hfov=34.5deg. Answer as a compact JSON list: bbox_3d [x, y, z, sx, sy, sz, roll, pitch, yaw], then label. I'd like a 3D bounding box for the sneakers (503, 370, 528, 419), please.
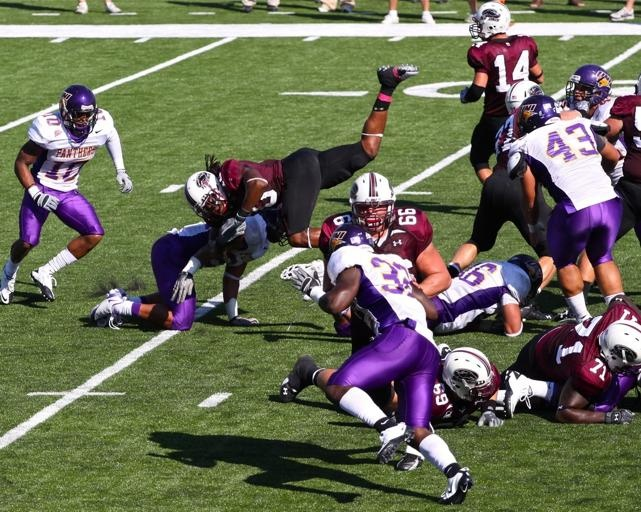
[{"bbox_3d":[1.171,0.835,6.223,0.170,0.289,0.106,6,-11,4],"label":"sneakers"}]

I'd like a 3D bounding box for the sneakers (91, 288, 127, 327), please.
[{"bbox_3d":[-1.602,0.416,7.730,0.140,0.320,0.244,56,21,22],"label":"sneakers"}]

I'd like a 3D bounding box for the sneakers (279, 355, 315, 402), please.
[{"bbox_3d":[-0.151,0.781,6.450,0.122,0.346,0.156,53,19,13],"label":"sneakers"}]

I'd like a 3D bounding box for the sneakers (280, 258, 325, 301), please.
[{"bbox_3d":[-0.074,0.172,5.907,0.252,0.114,0.245,-35,58,-26],"label":"sneakers"}]

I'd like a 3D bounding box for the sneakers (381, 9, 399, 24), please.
[{"bbox_3d":[1.161,-3.985,17.265,0.377,0.224,0.163,6,27,28],"label":"sneakers"}]

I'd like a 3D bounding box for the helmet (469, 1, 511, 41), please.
[{"bbox_3d":[1.606,-2.328,10.216,0.491,0.378,0.374,8,32,23],"label":"helmet"}]

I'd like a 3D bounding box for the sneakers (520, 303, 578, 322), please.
[{"bbox_3d":[1.671,0.427,7.654,0.461,0.167,0.129,-2,8,4],"label":"sneakers"}]

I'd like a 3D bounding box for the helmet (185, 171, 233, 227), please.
[{"bbox_3d":[-0.841,-0.426,7.448,0.380,0.273,0.369,43,6,-18],"label":"helmet"}]

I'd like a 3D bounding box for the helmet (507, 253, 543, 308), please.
[{"bbox_3d":[1.450,0.177,7.326,0.221,0.282,0.284,38,72,25],"label":"helmet"}]

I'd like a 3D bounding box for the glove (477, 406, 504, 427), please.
[{"bbox_3d":[1.024,0.945,6.160,0.155,0.109,0.165,5,19,9],"label":"glove"}]

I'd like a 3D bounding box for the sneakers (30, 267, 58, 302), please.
[{"bbox_3d":[-2.232,0.231,8.247,0.149,0.292,0.253,-13,24,-35],"label":"sneakers"}]

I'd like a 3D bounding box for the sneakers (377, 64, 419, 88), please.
[{"bbox_3d":[0.620,-1.444,8.256,0.307,0.110,0.182,-9,2,5],"label":"sneakers"}]

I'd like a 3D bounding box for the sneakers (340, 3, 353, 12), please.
[{"bbox_3d":[0.468,-4.430,18.508,0.090,0.089,0.286,-9,-9,6],"label":"sneakers"}]

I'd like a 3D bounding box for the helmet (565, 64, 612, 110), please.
[{"bbox_3d":[2.073,-1.333,8.173,0.437,0.344,0.317,-5,13,-21],"label":"helmet"}]

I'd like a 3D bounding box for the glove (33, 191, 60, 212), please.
[{"bbox_3d":[-2.192,-0.420,8.230,0.057,0.105,0.182,0,-25,45],"label":"glove"}]

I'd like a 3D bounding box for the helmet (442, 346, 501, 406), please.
[{"bbox_3d":[0.879,0.721,5.949,0.355,0.405,0.272,0,20,-4],"label":"helmet"}]

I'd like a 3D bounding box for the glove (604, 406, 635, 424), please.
[{"bbox_3d":[1.745,0.930,6.047,0.132,0.047,0.092,6,48,13],"label":"glove"}]

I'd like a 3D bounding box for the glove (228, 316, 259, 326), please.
[{"bbox_3d":[-0.580,0.496,7.770,0.227,0.080,0.077,-2,6,6],"label":"glove"}]

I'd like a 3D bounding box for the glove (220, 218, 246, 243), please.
[{"bbox_3d":[-0.638,-0.183,7.437,0.214,0.121,0.107,-33,-29,26],"label":"glove"}]

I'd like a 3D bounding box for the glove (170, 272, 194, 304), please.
[{"bbox_3d":[-1.013,0.236,7.512,0.163,0.214,0.063,4,-11,-1],"label":"glove"}]
